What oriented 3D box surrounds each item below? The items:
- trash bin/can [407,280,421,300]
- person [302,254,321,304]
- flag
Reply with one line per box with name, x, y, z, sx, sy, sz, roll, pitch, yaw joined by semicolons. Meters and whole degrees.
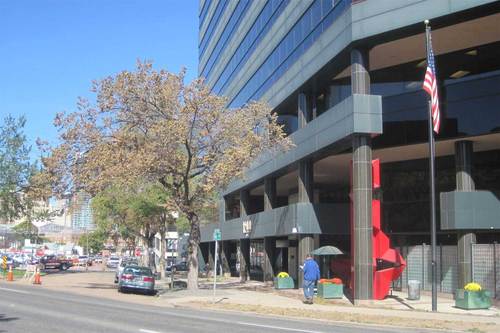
trash bin/can;10.510;7.895;40.051;0.970;1.604;1.069;0;-6;23
person;3.747;6.966;38.518;0.968;2.914;1.572;-2;-14;4
flag;10.591;-5.314;36.806;0.641;6.514;1.869;-5;-14;15
